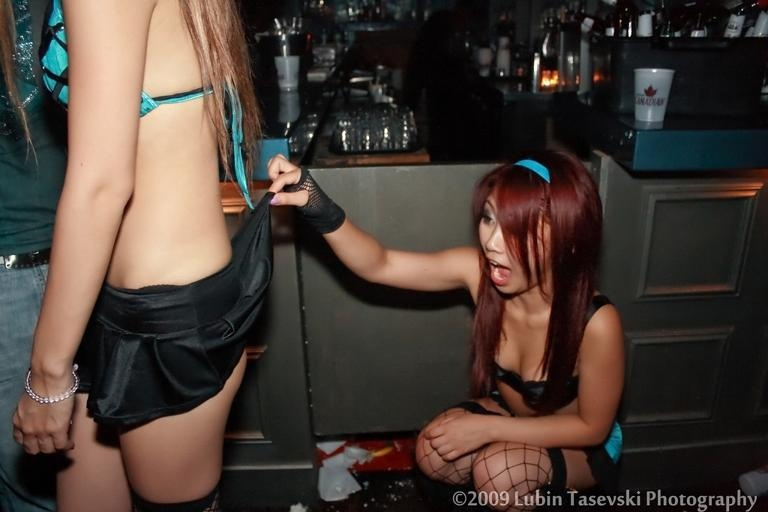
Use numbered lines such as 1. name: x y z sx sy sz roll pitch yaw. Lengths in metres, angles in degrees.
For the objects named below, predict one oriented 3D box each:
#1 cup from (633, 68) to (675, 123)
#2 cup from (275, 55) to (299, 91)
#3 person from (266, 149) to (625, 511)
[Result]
1. cup: 0.837 -0.501 1.813 0.089 0.158 0.098 -1 22 1
2. cup: -0.424 -0.812 2.581 0.103 0.159 0.107 -1 22 1
3. person: 0.221 0.081 2.141 0.951 1.493 0.968 16 26 41
